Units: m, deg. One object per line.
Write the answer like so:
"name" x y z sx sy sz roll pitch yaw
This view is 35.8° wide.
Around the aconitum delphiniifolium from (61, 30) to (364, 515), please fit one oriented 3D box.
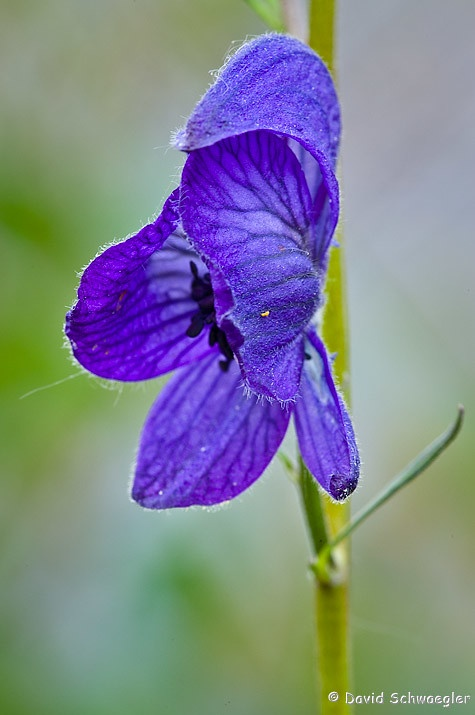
"aconitum delphiniifolium" -0.020 -0.084 0.704 0.250 0.447 0.233 26 -23 -35
